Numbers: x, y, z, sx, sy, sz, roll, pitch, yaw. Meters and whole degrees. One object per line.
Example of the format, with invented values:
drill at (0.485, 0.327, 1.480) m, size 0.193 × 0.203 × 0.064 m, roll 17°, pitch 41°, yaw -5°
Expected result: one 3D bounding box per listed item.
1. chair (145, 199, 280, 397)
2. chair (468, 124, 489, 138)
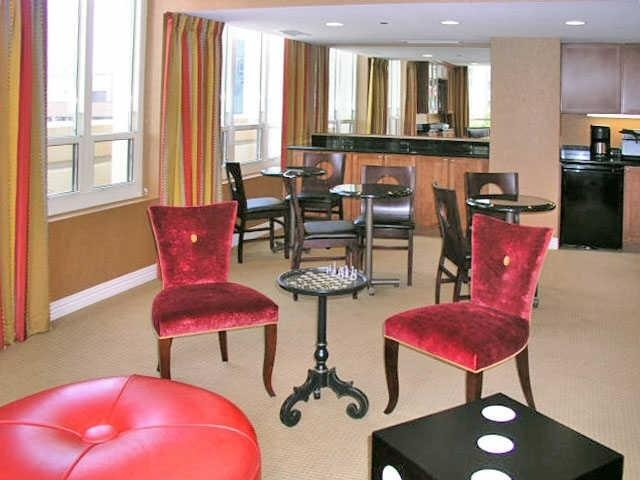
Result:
chair at (-0.685, 0.350, 3.104) m, size 0.676 × 1.092 × 0.751 m, roll -7°, pitch 12°, yaw -20°
chair at (3.207, -2.217, 10.393) m, size 0.395 × 0.246 × 1.465 m, roll 0°, pitch 11°, yaw 16°
